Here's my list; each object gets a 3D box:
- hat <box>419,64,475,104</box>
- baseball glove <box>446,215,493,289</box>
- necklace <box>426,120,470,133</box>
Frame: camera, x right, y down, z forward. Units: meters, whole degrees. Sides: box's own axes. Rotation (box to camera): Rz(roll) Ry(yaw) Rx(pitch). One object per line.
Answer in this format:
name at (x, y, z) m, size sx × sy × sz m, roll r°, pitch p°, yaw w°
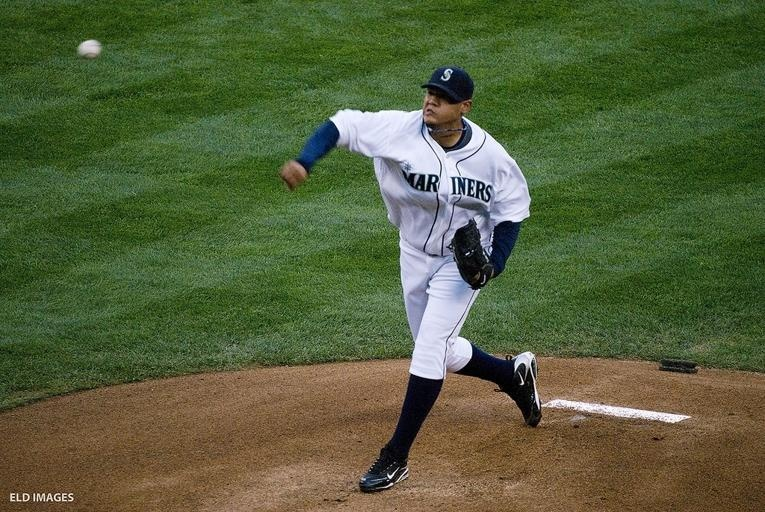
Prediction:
hat at (0.633, -1.456, 8.885) m, size 0.314 × 0.217 × 0.424 m, roll 27°, pitch 7°, yaw 33°
baseball glove at (0.755, -0.002, 8.781) m, size 0.343 × 0.621 × 0.232 m, roll -3°, pitch 17°, yaw 0°
necklace at (0.566, -1.134, 8.863) m, size 0.388 × 0.099 × 0.155 m, roll -10°, pitch 16°, yaw -29°
